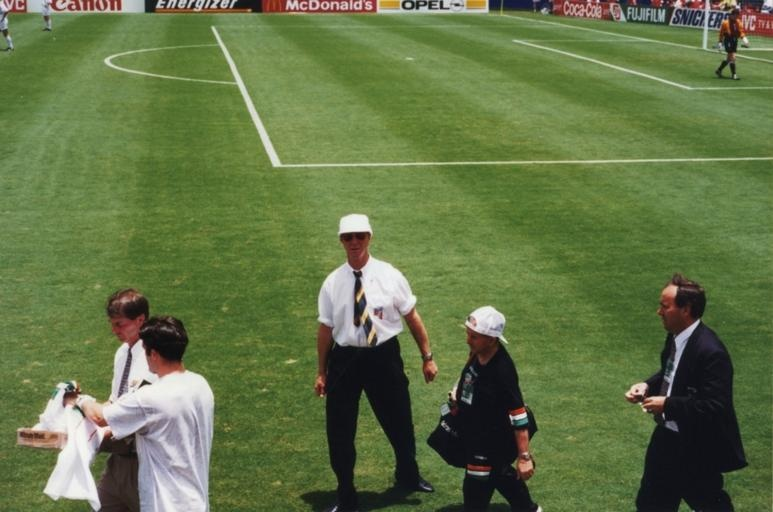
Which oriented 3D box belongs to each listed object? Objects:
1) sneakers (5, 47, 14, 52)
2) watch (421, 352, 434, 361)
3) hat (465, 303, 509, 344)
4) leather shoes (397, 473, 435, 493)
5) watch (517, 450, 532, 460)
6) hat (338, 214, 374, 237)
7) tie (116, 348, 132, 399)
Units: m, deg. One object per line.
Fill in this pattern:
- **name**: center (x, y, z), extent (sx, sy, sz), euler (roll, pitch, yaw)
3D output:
- **sneakers**: center (-12.967, -7.014, 30.110), extent (0.464, 0.172, 0.154), euler (6, 11, 20)
- **watch**: center (0.461, 1.101, 9.680), extent (0.111, 0.050, 0.106), euler (-3, 5, -35)
- **hat**: center (1.085, 0.690, 8.972), extent (0.464, 0.237, 0.295), euler (18, 9, -37)
- **leather shoes**: center (0.333, 2.502, 9.792), extent (0.428, 0.166, 0.162), euler (-2, 15, 1)
- **watch**: center (1.404, 1.999, 8.887), extent (0.088, 0.054, 0.097), euler (1, 1, -10)
- **hat**: center (-0.326, -0.342, 9.478), extent (0.281, 0.169, 0.365), euler (-2, -8, 3)
- **tie**: center (-2.586, 1.161, 8.675), extent (0.081, 0.553, 0.029), euler (6, -5, 6)
